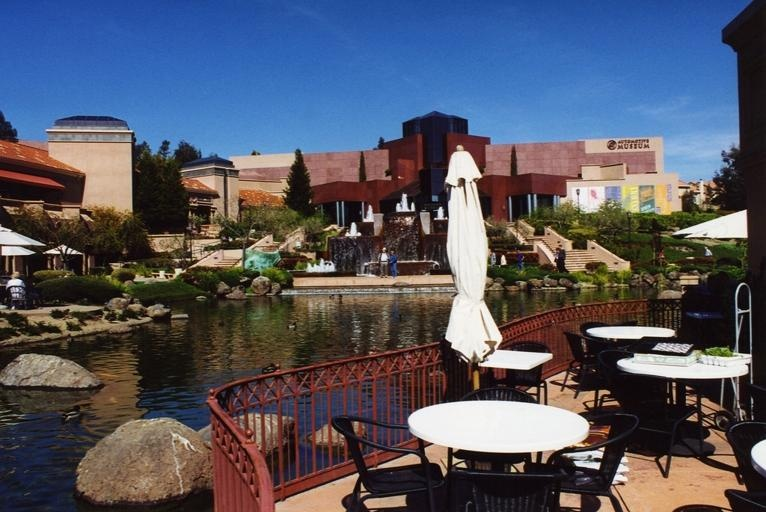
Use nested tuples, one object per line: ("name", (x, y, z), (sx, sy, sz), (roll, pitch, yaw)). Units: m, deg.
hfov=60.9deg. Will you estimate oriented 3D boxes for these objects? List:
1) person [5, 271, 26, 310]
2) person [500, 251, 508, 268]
("person", (-14.493, 1.558, 25.954), (0.573, 0.842, 1.715), (-2, -13, -28))
("person", (9.032, 0.276, 48.703), (0.830, 1.258, 1.236), (-2, 4, 10))
